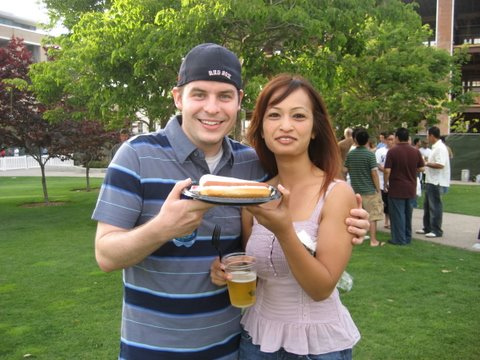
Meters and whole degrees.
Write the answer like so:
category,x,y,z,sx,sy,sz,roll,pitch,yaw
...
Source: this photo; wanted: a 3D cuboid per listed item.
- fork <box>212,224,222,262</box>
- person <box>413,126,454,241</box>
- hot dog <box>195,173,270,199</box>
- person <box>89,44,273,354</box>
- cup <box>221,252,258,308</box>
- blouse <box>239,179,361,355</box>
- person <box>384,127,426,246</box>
category,x,y,z,sx,sy,sz,roll,pitch,yaw
fork,-0.157,0.421,2.497,0.047,0.281,0.048,2,-4,-14
person,4.935,0.069,9.265,0.998,2.755,0.955,1,3,16
hot dog,-0.045,0.044,2.265,0.451,0.136,0.218,0,7,8
person,-0.385,0.164,2.575,1.085,2.280,0.838,1,8,13
cup,0.004,0.706,2.546,0.270,0.384,0.122,-6,9,-35
blouse,0.396,0.692,2.955,0.890,1.208,1.435,7,9,14
person,3.807,0.126,8.616,0.665,2.750,0.952,5,9,36
